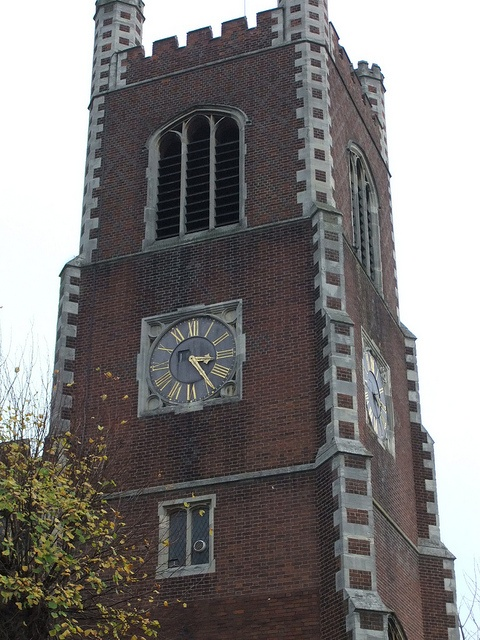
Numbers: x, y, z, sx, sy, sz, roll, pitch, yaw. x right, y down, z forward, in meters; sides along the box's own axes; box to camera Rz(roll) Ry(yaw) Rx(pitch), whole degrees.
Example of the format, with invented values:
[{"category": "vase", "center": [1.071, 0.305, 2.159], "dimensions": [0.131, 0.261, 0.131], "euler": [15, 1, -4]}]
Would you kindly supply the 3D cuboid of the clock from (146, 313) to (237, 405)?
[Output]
[{"category": "clock", "center": [-0.904, 0.820, 23.790], "dimensions": [1.653, 1.689, 0.101], "euler": [-14, -38, 19]}]
